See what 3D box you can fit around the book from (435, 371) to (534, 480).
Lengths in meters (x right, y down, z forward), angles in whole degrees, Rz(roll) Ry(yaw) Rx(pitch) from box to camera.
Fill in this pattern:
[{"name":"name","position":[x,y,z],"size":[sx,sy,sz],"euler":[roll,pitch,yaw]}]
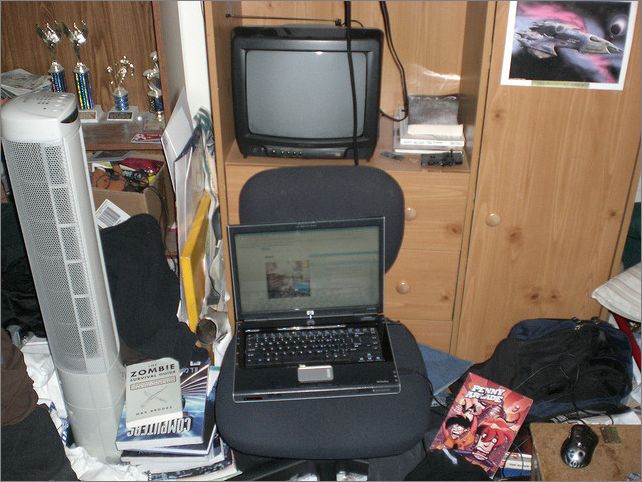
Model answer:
[{"name":"book","position":[0.587,0.607,1.904],"size":[0.280,0.389,0.038],"euler":[29,6,15]}]

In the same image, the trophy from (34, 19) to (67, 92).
[{"name":"trophy","position":[-1.197,-0.818,2.441],"size":[0.102,0.288,0.156],"euler":[-11,26,-25]}]

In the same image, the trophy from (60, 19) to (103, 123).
[{"name":"trophy","position":[-1.070,-0.757,2.466],"size":[0.138,0.402,0.101],"euler":[1,39,0]}]

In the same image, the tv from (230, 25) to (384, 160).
[{"name":"tv","position":[-0.051,-0.529,1.995],"size":[0.538,0.469,0.081],"euler":[1,23,2]}]

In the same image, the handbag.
[{"name":"handbag","position":[0.896,0.417,2.336],"size":[0.712,0.349,0.731],"euler":[-1,29,-1]}]
